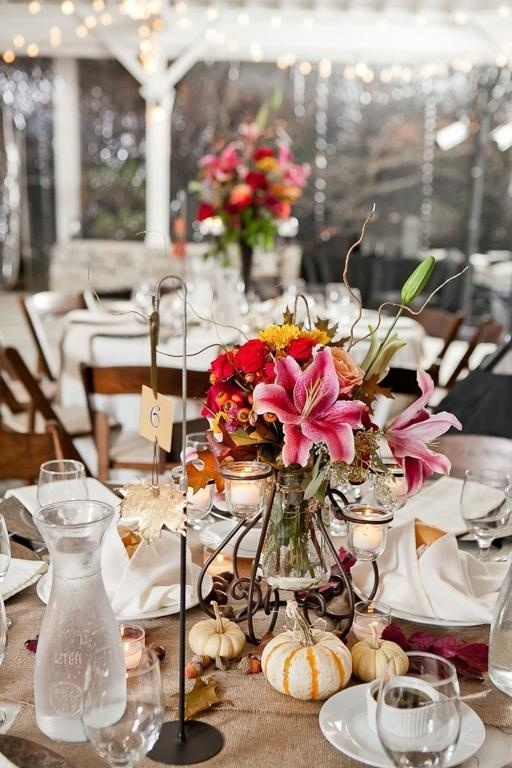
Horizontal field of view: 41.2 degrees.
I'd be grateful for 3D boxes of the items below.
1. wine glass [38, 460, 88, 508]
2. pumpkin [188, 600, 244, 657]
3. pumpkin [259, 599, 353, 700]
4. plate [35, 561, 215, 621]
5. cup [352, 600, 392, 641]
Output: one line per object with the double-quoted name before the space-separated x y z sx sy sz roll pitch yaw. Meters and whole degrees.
"wine glass" -0.305 0.151 1.075 0.083 0.077 0.080 0 -4 -5
"pumpkin" -0.053 0.291 0.847 0.065 0.063 0.064 3 6 -21
"pumpkin" 0.068 0.281 0.786 0.108 0.103 0.100 -2 6 -19
"plate" -0.175 0.292 0.925 0.139 0.015 0.130 5 11 18
"cup" 0.139 0.282 0.834 0.047 0.039 0.050 0 0 0
